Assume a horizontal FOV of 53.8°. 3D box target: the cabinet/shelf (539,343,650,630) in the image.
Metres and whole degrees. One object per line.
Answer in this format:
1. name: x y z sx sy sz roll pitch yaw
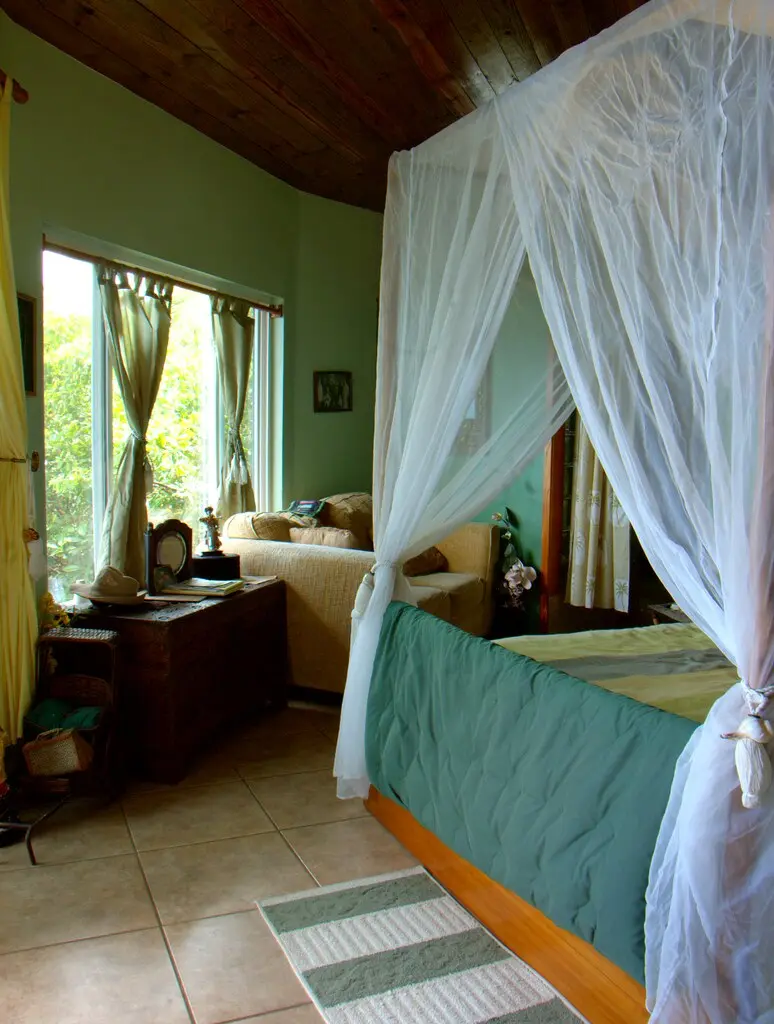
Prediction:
1. cabinet/shelf: 1.053 0.076 3.996 0.493 1.171 0.326 2 5 22

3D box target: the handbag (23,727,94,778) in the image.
1. handbag: -1.002 0.743 2.328 0.196 0.148 0.138 -12 -14 4

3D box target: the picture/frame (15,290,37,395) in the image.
1. picture/frame: -1.248 -0.576 2.654 0.031 0.348 0.101 2 4 12

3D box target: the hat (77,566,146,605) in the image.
1. hat: -0.968 0.259 2.653 0.162 0.067 0.142 20 1 -4

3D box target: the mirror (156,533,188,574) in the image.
1. mirror: -0.838 0.165 2.952 0.015 0.155 0.152 2 -1 20

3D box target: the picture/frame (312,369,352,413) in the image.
1. picture/frame: -0.354 -0.741 4.687 0.019 0.239 0.272 1 3 33

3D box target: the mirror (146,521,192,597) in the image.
1. mirror: -0.836 0.190 2.913 0.039 0.301 0.252 2 3 23
